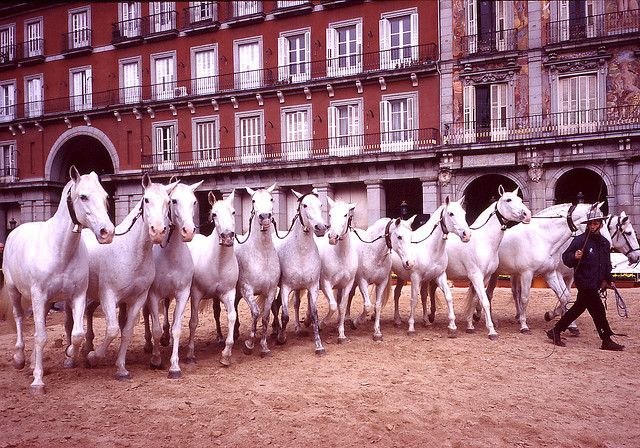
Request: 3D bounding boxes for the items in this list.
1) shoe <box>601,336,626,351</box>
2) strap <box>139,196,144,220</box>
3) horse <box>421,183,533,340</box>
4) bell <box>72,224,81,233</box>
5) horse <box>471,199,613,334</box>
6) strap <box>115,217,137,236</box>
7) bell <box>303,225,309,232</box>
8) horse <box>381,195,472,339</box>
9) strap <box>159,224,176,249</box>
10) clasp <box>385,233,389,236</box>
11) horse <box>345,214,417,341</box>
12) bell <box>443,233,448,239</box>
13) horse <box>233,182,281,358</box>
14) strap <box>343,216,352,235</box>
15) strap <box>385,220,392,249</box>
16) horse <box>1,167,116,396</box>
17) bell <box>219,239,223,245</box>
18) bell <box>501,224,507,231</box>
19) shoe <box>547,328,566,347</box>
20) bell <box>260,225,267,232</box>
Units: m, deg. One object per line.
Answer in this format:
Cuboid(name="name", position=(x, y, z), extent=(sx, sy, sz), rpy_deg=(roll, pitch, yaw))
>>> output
Cuboid(name="shoe", position=(8.528, 3.456, 20.486), extent=(0.659, 0.477, 0.300), rpy_deg=(-3, 0, 12))
Cuboid(name="strap", position=(-4.752, -0.376, 18.928), extent=(0.085, 0.543, 0.073), rpy_deg=(8, 13, -16))
Cuboid(name="horse", position=(4.541, 1.369, 22.580), extent=(1.266, 4.232, 5.213), rpy_deg=(3, -5, -37))
Cuboid(name="bell", position=(-6.319, 0.114, 18.401), extent=(0.184, 0.188, 0.134), rpy_deg=(-3, 2, -26))
Cuboid(name="horse", position=(6.834, 1.480, 22.570), extent=(1.407, 3.961, 5.309), rpy_deg=(3, -3, -21))
Cuboid(name="strap", position=(-5.161, 0.091, 18.995), extent=(0.137, 0.635, 0.361), rpy_deg=(39, -24, -29))
Cuboid(name="bell", position=(-0.387, 0.125, 20.349), extent=(0.162, 0.186, 0.142), rpy_deg=(-2, 1, -3))
Cuboid(name="horse", position=(3.237, 1.481, 22.589), extent=(1.312, 4.115, 5.116), rpy_deg=(3, -6, -21))
Cuboid(name="strap", position=(-4.101, 0.277, 19.222), extent=(0.122, 0.512, 0.293), rpy_deg=(13, 5, -45))
Cuboid(name="clasp", position=(2.009, 0.314, 21.075), extent=(0.130, 0.074, 0.021), rpy_deg=(-1, 1, 42))
Cuboid(name="horse", position=(1.608, 1.623, 22.277), extent=(1.171, 4.066, 4.709), rpy_deg=(5, 2, -18))
Cuboid(name="bell", position=(3.812, 0.373, 21.308), extent=(0.102, 0.123, 0.107), rpy_deg=(12, 31, 27))
Cuboid(name="horse", position=(-1.848, 1.338, 20.673), extent=(1.428, 4.941, 2.373), rpy_deg=(-2, 1, -7))
Cuboid(name="strap", position=(0.793, 0.054, 20.536), extent=(0.177, 0.501, 0.292), rpy_deg=(-2, 2, 19))
Cuboid(name="strap", position=(2.069, 0.318, 21.111), extent=(0.229, 0.784, 0.160), rpy_deg=(-1, 2, 25))
Cuboid(name="horse", position=(-7.168, 1.493, 19.111), extent=(1.746, 5.021, 4.000), rpy_deg=(-3, 2, -41))
Cuboid(name="bell", position=(-2.693, 0.501, 19.393), extent=(0.083, 0.157, 0.034), rpy_deg=(4, 8, 30))
Cuboid(name="bell", position=(5.574, 0.114, 21.422), extent=(0.105, 0.192, 0.062), rpy_deg=(1, 8, 6))
Cuboid(name="shoe", position=(6.977, 3.321, 20.837), extent=(0.511, 0.499, 0.517), rpy_deg=(-2, 1, 24))
Cuboid(name="bell", position=(-1.564, 0.121, 19.845), extent=(0.192, 0.185, 0.364), rpy_deg=(-3, 1, -7))
